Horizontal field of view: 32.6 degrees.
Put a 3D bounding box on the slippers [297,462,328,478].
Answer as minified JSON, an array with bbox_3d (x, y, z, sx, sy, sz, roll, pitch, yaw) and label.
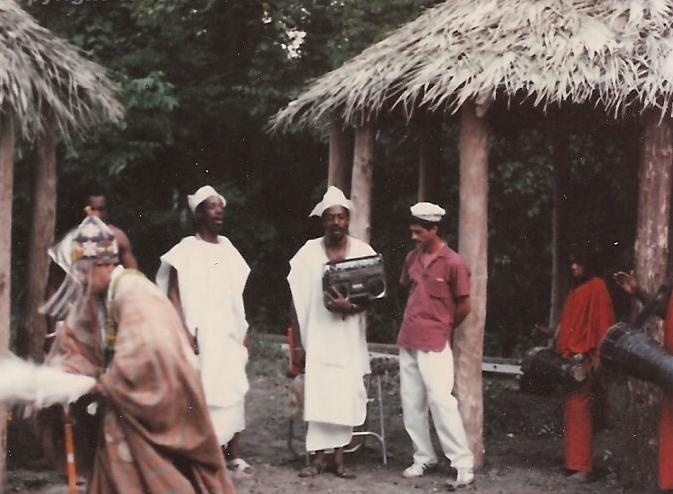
[{"bbox_3d":[-0.201,1.958,10.101,0.216,0.061,0.101,-6,16,-31],"label":"slippers"}]

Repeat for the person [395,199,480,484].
[{"bbox_3d":[0.933,0.793,10.362,0.820,2.247,0.824,0,-1,-22],"label":"person"}]

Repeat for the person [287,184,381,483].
[{"bbox_3d":[-0.048,0.768,10.465,0.941,2.579,0.737,0,0,-4],"label":"person"}]

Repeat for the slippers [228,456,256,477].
[{"bbox_3d":[-0.822,1.957,10.153,0.163,0.045,0.161,35,13,-19],"label":"slippers"}]

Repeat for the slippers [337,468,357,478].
[{"bbox_3d":[0.087,1.983,10.055,0.140,0.051,0.076,13,-1,11],"label":"slippers"}]

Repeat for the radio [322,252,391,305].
[{"bbox_3d":[0.155,0.298,10.051,0.541,0.420,0.180,0,13,-4],"label":"radio"}]

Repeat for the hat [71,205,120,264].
[{"bbox_3d":[-1.739,-0.068,8.331,0.234,0.451,0.255,6,8,40],"label":"hat"}]

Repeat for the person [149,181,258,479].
[{"bbox_3d":[-1.050,0.692,10.132,0.719,2.623,0.991,0,0,29],"label":"person"}]

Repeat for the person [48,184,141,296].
[{"bbox_3d":[-2.181,-0.146,10.692,0.661,1.135,0.599,-1,8,5],"label":"person"}]

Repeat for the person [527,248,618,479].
[{"bbox_3d":[2.171,1.031,10.191,0.540,1.906,0.712,-1,13,-6],"label":"person"}]
